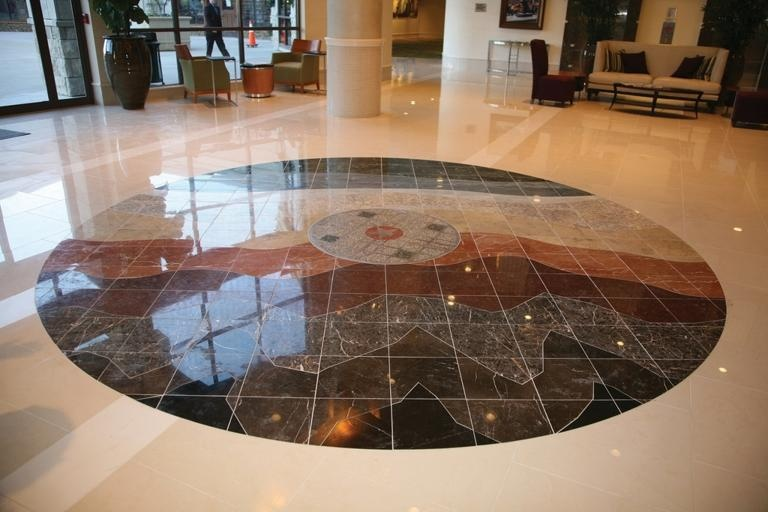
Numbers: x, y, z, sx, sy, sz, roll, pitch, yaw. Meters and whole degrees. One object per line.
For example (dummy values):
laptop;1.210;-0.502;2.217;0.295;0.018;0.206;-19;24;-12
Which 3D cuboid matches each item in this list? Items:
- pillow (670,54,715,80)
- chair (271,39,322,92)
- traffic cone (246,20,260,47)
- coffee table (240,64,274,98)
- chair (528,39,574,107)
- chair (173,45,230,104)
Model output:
pillow;6.639;-4.091;10.863;0.696;0.438;0.512;14;30;23
chair;-1.978;-4.308;11.693;1.159;1.300;1.145;16;28;27
traffic cone;-3.144;-5.288;11.959;0.209;0.596;0.372;-4;29;-9
coffee table;-2.706;-3.823;11.063;0.789;0.656;0.730;-2;28;-7
chair;3.643;-4.109;11.230;1.229;1.450;1.157;8;24;16
chair;-3.585;-3.627;10.037;0.933;1.032;0.495;-2;29;-6
